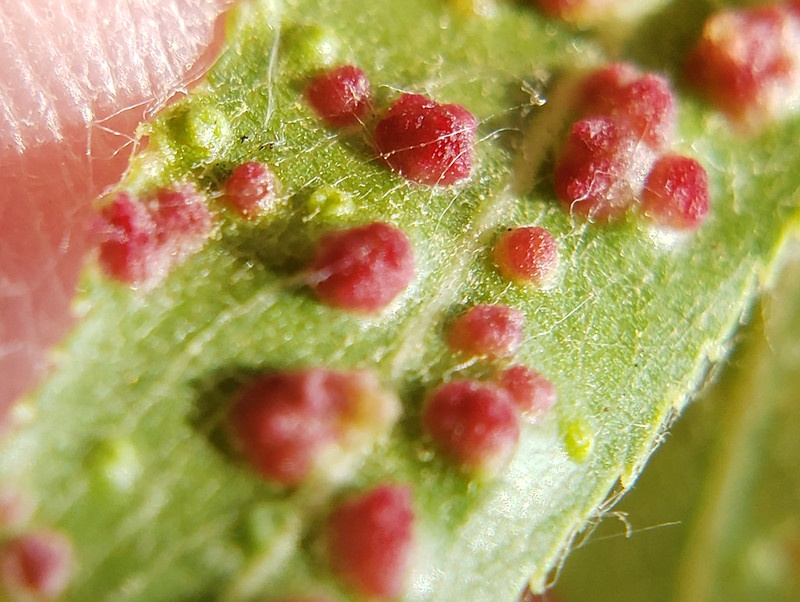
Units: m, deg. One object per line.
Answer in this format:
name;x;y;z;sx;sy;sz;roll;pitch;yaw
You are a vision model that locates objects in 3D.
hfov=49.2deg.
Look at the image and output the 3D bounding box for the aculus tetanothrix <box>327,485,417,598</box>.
aculus tetanothrix;-0.052;0.476;1.716;0.173;0.034;0.209;-9;83;-6
